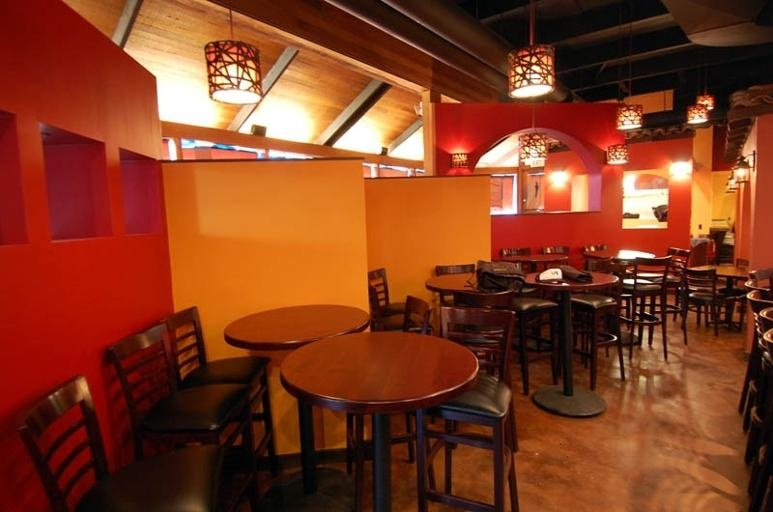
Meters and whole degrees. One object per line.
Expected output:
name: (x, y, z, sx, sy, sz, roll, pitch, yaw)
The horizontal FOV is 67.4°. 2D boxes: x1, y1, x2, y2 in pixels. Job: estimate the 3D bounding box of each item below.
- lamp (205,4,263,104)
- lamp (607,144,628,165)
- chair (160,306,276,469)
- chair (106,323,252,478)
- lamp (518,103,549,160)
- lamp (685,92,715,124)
lamp: (-1.548, -1.894, 5.875, 0.537, 0.578, 0.372, -2, 6, -16)
lamp: (3.864, -1.676, 9.609, 0.393, 0.273, 0.375, -1, 3, 1)
chair: (-1.434, 1.322, 5.250, 0.877, 1.538, 0.918, -13, -5, 27)
chair: (-1.652, 1.249, 4.840, 0.901, 1.185, 0.760, 3, 18, 14)
lamp: (2.373, -2.050, 9.319, 0.402, 0.971, 0.751, 1, 5, 14)
lamp: (5.152, -2.441, 9.498, 0.314, 0.466, 0.545, 3, 6, 36)
